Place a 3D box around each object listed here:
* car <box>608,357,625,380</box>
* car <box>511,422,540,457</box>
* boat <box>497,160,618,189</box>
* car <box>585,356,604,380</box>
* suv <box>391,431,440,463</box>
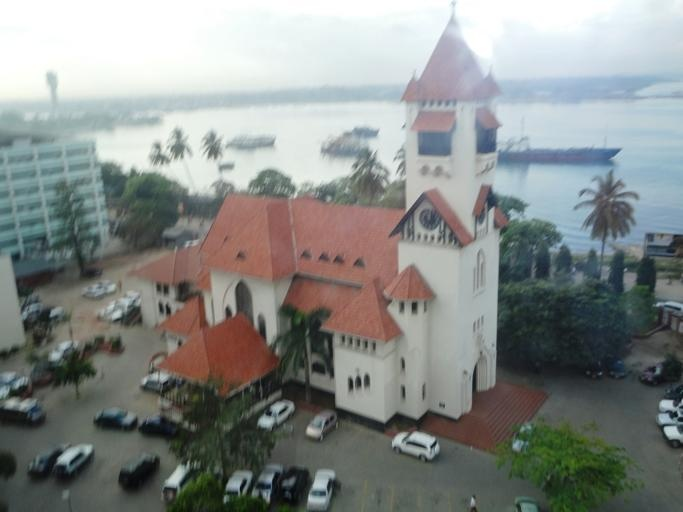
[{"bbox_3d":[28.620,12.002,55.624,1.714,1.290,1.371,-12,18,-37],"label":"car"},{"bbox_3d":[13.966,14.248,41.455,1.768,0.898,2.651,-2,12,11],"label":"car"},{"bbox_3d":[66.016,-26.656,168.211,32.861,6.140,10.981,9,17,34],"label":"boat"},{"bbox_3d":[26.323,11.697,55.390,2.528,1.919,1.083,-9,15,-27],"label":"car"},{"bbox_3d":[6.231,15.780,44.880,3.272,1.614,2.054,15,28,19],"label":"suv"}]
